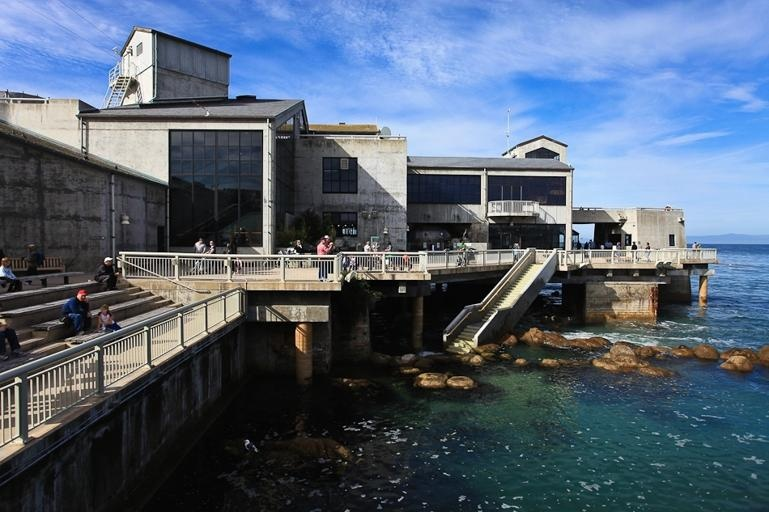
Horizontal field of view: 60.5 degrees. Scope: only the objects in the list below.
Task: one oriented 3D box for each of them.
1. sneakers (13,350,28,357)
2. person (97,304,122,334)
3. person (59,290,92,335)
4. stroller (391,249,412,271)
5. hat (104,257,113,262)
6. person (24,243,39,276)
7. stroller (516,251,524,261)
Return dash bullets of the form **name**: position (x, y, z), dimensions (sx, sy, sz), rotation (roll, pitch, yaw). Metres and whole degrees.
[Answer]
- **sneakers**: position (-13.074, 3.482, 23.825), dimensions (0.504, 0.207, 0.162), rotation (0, -1, 7)
- **person**: position (-10.907, 2.513, 26.272), dimensions (1.080, 1.103, 0.775), rotation (-4, 3, -38)
- **person**: position (-12.018, 2.139, 25.807), dimensions (1.156, 1.592, 1.015), rotation (3, 4, -23)
- **stroller**: position (0.927, 0.263, 35.755), dimensions (1.134, 0.972, 0.468), rotation (0, 4, 1)
- **hat**: position (-12.387, 0.155, 29.762), dimensions (0.441, 0.199, 0.543), rotation (2, 1, -3)
- **person**: position (-16.481, 0.211, 30.912), dimensions (0.477, 0.487, 1.409), rotation (11, -34, -28)
- **stroller**: position (9.133, -0.038, 44.496), dimensions (0.666, 0.617, 1.265), rotation (1, 4, 16)
